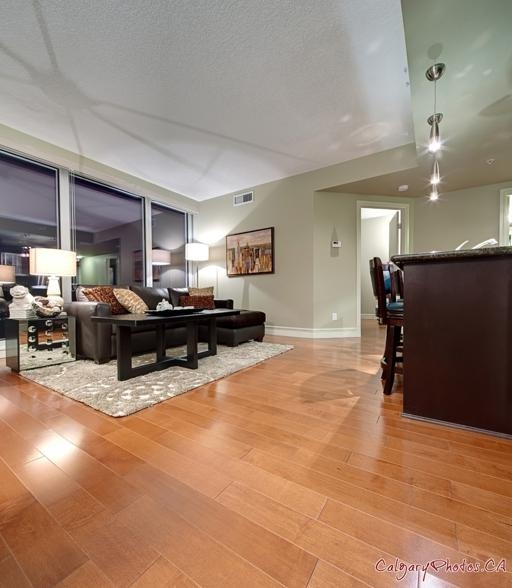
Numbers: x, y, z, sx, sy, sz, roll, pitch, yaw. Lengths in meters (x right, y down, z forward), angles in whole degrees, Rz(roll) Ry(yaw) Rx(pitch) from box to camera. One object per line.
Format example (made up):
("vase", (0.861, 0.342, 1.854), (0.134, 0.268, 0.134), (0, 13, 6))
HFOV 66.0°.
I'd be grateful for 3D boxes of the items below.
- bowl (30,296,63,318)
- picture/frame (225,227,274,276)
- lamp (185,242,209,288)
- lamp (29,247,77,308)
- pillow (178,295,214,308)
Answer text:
("bowl", (-1.784, 0.107, 3.318), (0.205, 0.135, 0.203), (8, -4, 1))
("picture/frame", (-0.065, -0.609, 5.658), (0.026, 0.543, 0.714), (-3, 3, -42))
("lamp", (-0.951, -0.453, 6.301), (0.385, 0.726, 0.608), (-2, 9, -9))
("lamp", (-1.914, -0.135, 3.688), (0.329, 0.561, 0.338), (-2, 3, -19))
("pillow", (-0.720, 0.088, 4.768), (0.270, 0.118, 0.214), (1, -1, -23))
